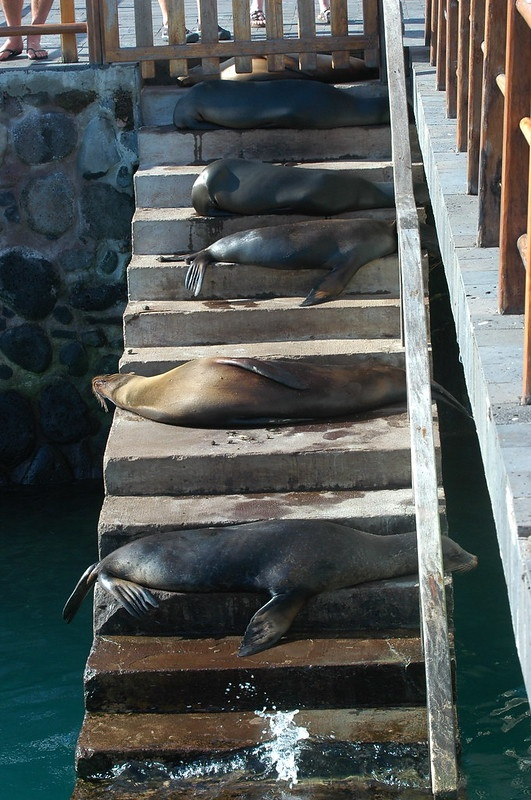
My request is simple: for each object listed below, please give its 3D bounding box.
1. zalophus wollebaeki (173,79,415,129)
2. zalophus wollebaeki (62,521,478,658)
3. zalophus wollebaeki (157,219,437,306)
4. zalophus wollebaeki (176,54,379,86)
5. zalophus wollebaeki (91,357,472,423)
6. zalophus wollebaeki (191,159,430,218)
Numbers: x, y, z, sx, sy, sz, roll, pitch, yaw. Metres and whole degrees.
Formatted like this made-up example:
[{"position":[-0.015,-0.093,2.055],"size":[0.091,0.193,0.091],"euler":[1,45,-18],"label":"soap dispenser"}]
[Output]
[{"position":[0.147,-1.959,6.298],"size":[1.443,0.307,0.485],"euler":[3,27,3],"label":"zalophus wollebaeki"},{"position":[-0.016,0.641,3.559],"size":[1.204,0.311,0.563],"euler":[-1,7,7],"label":"zalophus wollebaeki"},{"position":[0.128,-0.858,5.371],"size":[1.145,0.269,0.595],"euler":[-3,20,3],"label":"zalophus wollebaeki"},{"position":[0.067,-2.356,6.755],"size":[0.986,0.202,0.502],"euler":[0,9,-9],"label":"zalophus wollebaeki"},{"position":[0.031,-0.026,4.440],"size":[1.779,0.332,0.543],"euler":[-2,-24,5],"label":"zalophus wollebaeki"},{"position":[0.123,-1.289,5.786],"size":[1.094,0.228,0.466],"euler":[4,23,2],"label":"zalophus wollebaeki"}]
